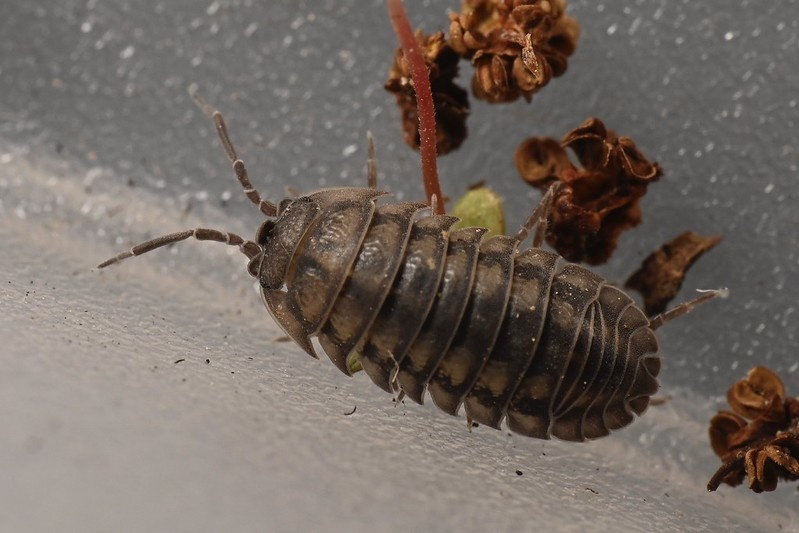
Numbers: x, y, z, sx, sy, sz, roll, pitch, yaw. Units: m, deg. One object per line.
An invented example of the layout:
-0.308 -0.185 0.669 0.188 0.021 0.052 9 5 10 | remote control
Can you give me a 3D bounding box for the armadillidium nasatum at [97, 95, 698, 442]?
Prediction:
0.049 0.149 4.426 2.409 0.359 1.196 22 85 -3 | armadillidium nasatum
